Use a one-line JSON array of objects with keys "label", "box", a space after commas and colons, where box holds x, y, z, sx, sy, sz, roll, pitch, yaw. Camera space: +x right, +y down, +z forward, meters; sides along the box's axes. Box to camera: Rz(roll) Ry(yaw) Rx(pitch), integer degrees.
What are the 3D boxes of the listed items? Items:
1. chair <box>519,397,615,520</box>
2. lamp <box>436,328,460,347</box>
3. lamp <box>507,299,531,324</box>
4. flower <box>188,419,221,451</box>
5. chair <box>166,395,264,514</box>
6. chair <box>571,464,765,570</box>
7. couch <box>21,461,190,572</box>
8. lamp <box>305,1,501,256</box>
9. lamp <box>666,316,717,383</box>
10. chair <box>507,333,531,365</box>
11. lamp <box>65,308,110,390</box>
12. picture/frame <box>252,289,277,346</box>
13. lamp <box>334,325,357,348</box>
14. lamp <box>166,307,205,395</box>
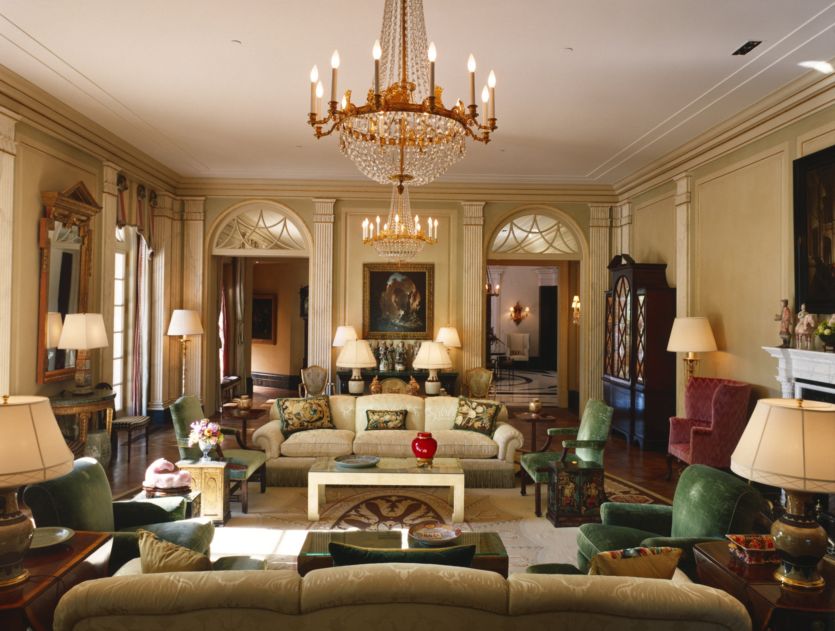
[{"label": "chair", "box": [1.479, 1.444, 6.904, 1.113, 1.388, 1.059, 1, -4, -6]}, {"label": "lamp", "box": [0.469, 0.335, 10.071, 0.306, 0.302, 0.306, -1, 1, 17]}, {"label": "lamp", "box": [2.875, -0.136, 18.823, 0.707, 0.816, 0.218, -1, -4, -10]}, {"label": "flower", "box": [-1.992, 1.064, 6.083, 0.339, 0.340, 0.344, 1, -2, -9]}, {"label": "chair", "box": [-2.144, 1.319, 6.704, 1.074, 1.340, 0.968, 0, 0, -2]}, {"label": "chair", "box": [1.674, 1.344, 4.516, 0.968, 0.837, 1.019, 1, -8, -2]}, {"label": "couch", "box": [-2.168, 1.374, 4.712, 0.805, 1.016, 0.753, -3, 2, -11]}, {"label": "lamp", "box": [-0.187, -1.821, 6.521, 1.647, 2.541, 1.641, 0, -5, 4]}, {"label": "lamp", "box": [3.329, 0.399, 7.862, 0.486, 0.755, 0.784, 2, 3, 34]}, {"label": "chair", "box": [2.838, 0.932, 19.161, 0.734, 0.913, 0.760, 1, -2, 1]}, {"label": "lamp", "box": [-3.675, 0.410, 7.231, 0.437, 0.866, 0.508, 0, 2, -4]}, {"label": "picture/frame", "box": [-3.481, 0.050, 14.925, 0.817, 1.169, 0.186, 2, 3, 37]}, {"label": "lamp", "box": [-1.132, 0.301, 10.047, 0.365, 0.356, 0.359, -2, 5, -15]}, {"label": "lamp", "box": [-3.513, 0.585, 9.903, 0.514, 1.352, 0.900, 0, 3, -20]}]
